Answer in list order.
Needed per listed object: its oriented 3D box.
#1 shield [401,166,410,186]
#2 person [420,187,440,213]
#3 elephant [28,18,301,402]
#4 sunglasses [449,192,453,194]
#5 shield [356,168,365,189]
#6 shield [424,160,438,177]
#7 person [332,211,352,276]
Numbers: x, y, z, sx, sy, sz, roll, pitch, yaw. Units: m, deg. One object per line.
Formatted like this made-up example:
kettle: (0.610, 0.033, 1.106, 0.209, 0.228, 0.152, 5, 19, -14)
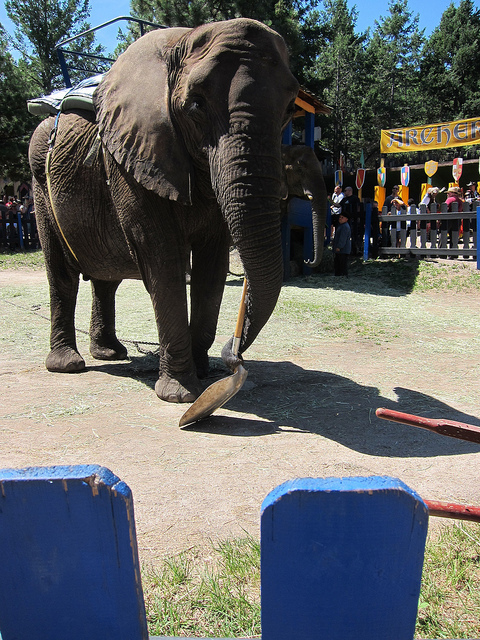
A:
shield: (4.783, -4.203, 18.630, 0.178, 0.577, 0.622, 4, 9, 11)
person: (4.405, -2.825, 14.969, 0.309, 0.678, 1.881, 4, 8, 15)
elephant: (-0.599, -0.715, 4.841, 1.306, 2.238, 2.977, -4, 5, -35)
sunglasses: (4.584, -2.782, 13.993, 0.077, 0.015, 0.066, -13, 32, 10)
shield: (3.684, -4.342, 19.730, 0.191, 0.620, 0.609, 3, 8, 6)
shield: (5.328, -4.262, 17.942, 0.263, 0.346, 0.711, 5, 9, 19)
person: (2.128, -1.555, 13.422, 0.334, 1.250, 0.830, 3, 9, 7)
